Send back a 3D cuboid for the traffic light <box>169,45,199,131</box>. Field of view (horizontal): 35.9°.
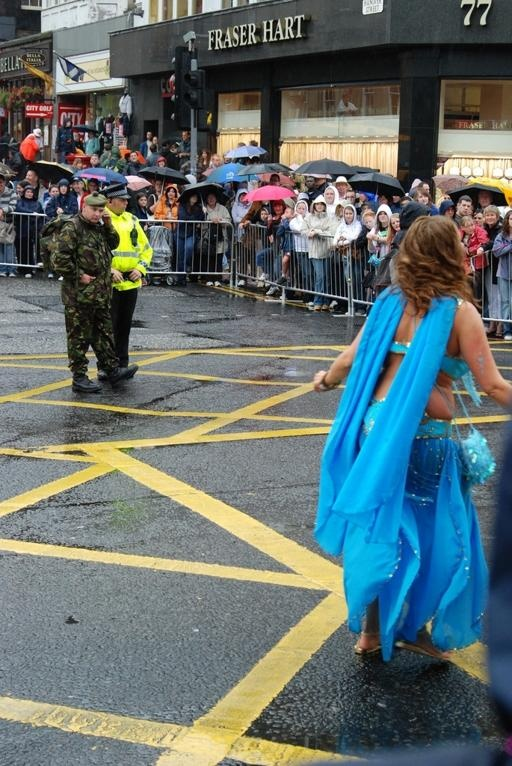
[{"bbox_3d":[-1.458,-6.747,18.153,0.575,1.427,0.776,-13,25,-37],"label":"traffic light"}]

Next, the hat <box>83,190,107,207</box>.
[{"bbox_3d":[-1.657,-1.887,8.086,0.174,0.091,0.211,-1,9,-11],"label":"hat"}]

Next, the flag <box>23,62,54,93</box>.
[{"bbox_3d":[-13.060,-18.425,47.621,1.562,1.887,6.658,-3,12,-14],"label":"flag"}]

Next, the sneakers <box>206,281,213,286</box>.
[{"bbox_3d":[-1.029,-2.203,17.487,0.138,0.115,0.051,1,-4,-16],"label":"sneakers"}]

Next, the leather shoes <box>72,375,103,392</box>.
[{"bbox_3d":[-1.749,0.022,8.461,0.389,0.226,0.139,-1,7,1],"label":"leather shoes"}]

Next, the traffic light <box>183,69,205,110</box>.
[{"bbox_3d":[-1.429,-6.742,18.121,0.470,0.854,0.238,-1,13,-5],"label":"traffic light"}]

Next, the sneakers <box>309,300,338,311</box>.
[{"bbox_3d":[1.224,-1.414,14.622,0.203,0.207,0.546,2,-5,-14],"label":"sneakers"}]

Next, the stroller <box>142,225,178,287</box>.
[{"bbox_3d":[-2.015,-2.702,16.956,0.836,1.004,0.789,4,-2,-38],"label":"stroller"}]

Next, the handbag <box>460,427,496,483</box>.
[{"bbox_3d":[0.931,0.318,3.374,0.111,0.228,0.189,-18,-12,41],"label":"handbag"}]

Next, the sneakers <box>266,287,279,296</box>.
[{"bbox_3d":[0.332,-1.853,16.014,0.118,0.125,0.328,10,7,19],"label":"sneakers"}]

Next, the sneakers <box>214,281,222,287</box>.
[{"bbox_3d":[-0.839,-2.187,17.465,0.126,0.046,0.153,-6,21,-9],"label":"sneakers"}]

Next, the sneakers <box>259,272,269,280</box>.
[{"bbox_3d":[0.167,-2.218,16.480,0.083,0.176,0.314,-5,13,-24],"label":"sneakers"}]

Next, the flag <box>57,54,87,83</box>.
[{"bbox_3d":[-10.044,-17.161,43.028,1.074,1.457,3.056,-4,12,-19],"label":"flag"}]

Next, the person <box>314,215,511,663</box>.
[{"bbox_3d":[0.632,0.248,3.275,0.743,1.841,0.643,1,13,3],"label":"person"}]

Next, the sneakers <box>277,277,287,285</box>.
[{"bbox_3d":[0.502,-2.007,15.442,0.064,0.167,0.195,-12,18,-44],"label":"sneakers"}]

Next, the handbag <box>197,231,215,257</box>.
[{"bbox_3d":[-1.061,-3.005,16.983,0.564,0.604,0.360,0,19,-5],"label":"handbag"}]

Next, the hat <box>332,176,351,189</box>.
[{"bbox_3d":[1.682,-3.864,15.442,0.414,0.153,0.428,1,-17,-1],"label":"hat"}]
